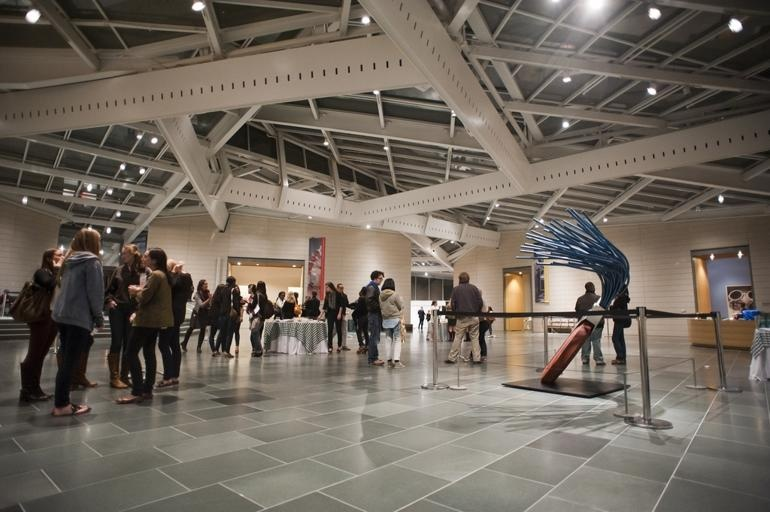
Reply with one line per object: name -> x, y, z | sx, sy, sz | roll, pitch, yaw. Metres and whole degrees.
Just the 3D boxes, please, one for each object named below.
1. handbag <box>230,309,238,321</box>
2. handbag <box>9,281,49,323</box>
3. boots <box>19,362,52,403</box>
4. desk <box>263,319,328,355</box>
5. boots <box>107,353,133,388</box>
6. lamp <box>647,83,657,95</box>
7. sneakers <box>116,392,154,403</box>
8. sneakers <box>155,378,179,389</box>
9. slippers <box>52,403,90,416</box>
handbag -> -3.052, 1.195, 9.239 | 0.180, 0.158, 0.178 | 1, 3, 15
handbag -> -4.246, 0.552, 5.446 | 0.449, 0.504, 0.250 | -1, -8, 18
boots -> -4.180, 1.511, 5.479 | 0.322, 0.450, 0.252 | 5, -8, -27
desk -> -2.085, 1.833, 10.430 | 1.404, 0.738, 0.656 | -1, -8, 22
boots -> -3.623, 1.548, 6.220 | 0.473, 0.457, 0.245 | -5, -9, 41
lamp -> 5.076, -3.142, 8.653 | 0.196, 0.170, 0.214 | -1, 2, 17
sneakers -> -3.006, 1.711, 5.498 | 0.376, 0.096, 0.185 | 5, -8, -28
sneakers -> -2.980, 1.749, 6.290 | 0.295, 0.105, 0.199 | 6, -8, -32
slippers -> -3.434, 1.691, 4.998 | 0.294, 0.111, 0.159 | 1, -3, -33
